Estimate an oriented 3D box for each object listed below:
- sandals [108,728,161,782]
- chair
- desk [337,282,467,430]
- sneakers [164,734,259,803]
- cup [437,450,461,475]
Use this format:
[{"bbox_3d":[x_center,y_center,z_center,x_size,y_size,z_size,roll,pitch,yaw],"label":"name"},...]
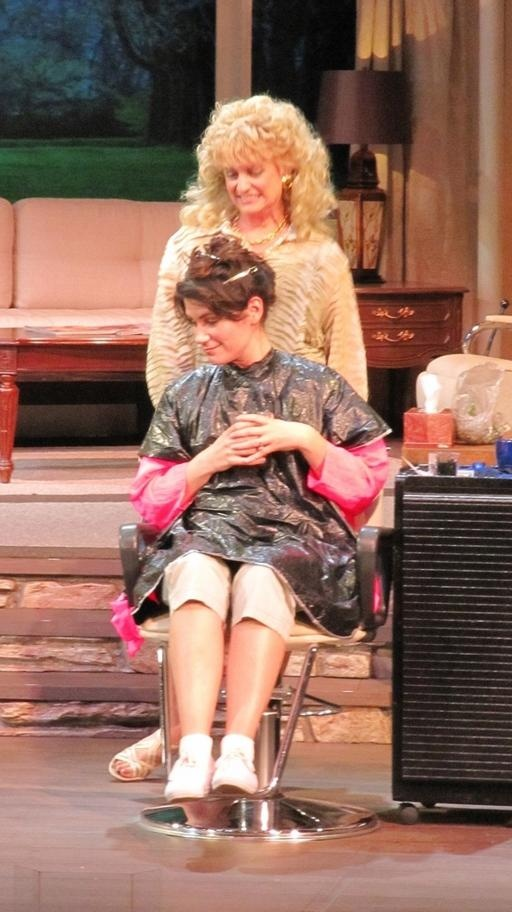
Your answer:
[{"bbox_3d":[-0.218,0.582,1.834,0.064,0.057,0.149,-6,-7,23],"label":"sandals"},{"bbox_3d":[0.054,0.342,1.550,0.328,0.449,0.299,17,4,-15],"label":"chair"},{"bbox_3d":[0.671,-0.487,4.247,0.620,0.707,0.544,-9,31,-4],"label":"desk"},{"bbox_3d":[-0.057,0.421,1.271,0.113,0.095,0.122,2,-4,3],"label":"sneakers"},{"bbox_3d":[0.310,0.012,1.563,0.037,0.041,0.043,1,-9,1],"label":"cup"}]
